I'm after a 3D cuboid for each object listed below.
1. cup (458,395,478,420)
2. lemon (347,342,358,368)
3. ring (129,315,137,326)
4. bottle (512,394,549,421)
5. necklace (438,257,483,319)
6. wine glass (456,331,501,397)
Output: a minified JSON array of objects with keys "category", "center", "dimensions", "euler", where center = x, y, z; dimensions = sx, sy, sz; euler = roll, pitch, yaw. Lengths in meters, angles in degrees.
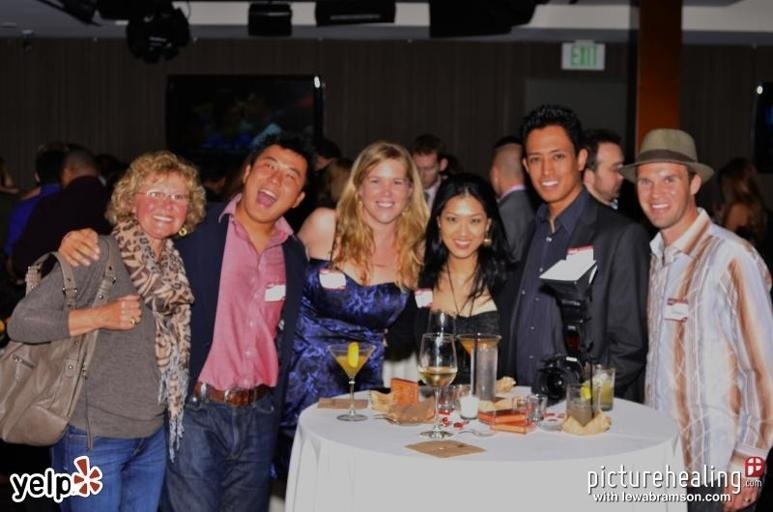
[{"category":"cup","center":[0.444,0.807,3.650],"dimensions":[0.108,0.113,0.106],"euler":[0,-2,0]},{"category":"lemon","center":[-0.189,0.535,3.678],"dimensions":[0.055,0.121,0.029],"euler":[1,1,0]},{"category":"ring","center":[-1.324,0.333,3.522],"dimensions":[0.030,0.043,0.018],"euler":[-1,3,-33]},{"category":"bottle","center":[0.772,0.805,3.662],"dimensions":[0.104,0.123,0.164],"euler":[0,2,-12]},{"category":"necklace","center":[0.503,0.214,4.543],"dimensions":[0.223,0.357,0.072],"euler":[0,-1,4]},{"category":"wine glass","center":[0.535,0.605,3.860],"dimensions":[0.288,0.371,0.307],"euler":[0,2,18]}]
